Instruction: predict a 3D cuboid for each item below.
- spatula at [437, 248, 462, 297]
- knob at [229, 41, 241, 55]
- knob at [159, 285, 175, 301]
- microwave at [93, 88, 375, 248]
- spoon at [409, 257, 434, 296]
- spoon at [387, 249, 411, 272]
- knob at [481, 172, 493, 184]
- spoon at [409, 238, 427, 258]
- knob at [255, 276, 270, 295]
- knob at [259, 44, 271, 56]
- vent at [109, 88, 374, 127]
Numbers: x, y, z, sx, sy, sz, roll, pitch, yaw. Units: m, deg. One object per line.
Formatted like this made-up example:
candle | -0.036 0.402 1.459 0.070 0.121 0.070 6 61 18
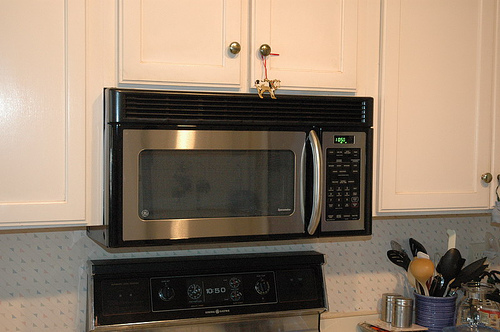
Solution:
spatula | 0.937 0.502 2.299 0.076 0.235 0.105 1 6 -5
knob | -0.059 -0.461 1.853 0.040 0.042 0.036 -3 7 31
knob | -0.346 0.526 1.987 0.065 0.051 0.017 -2 -1 -16
microwave | -0.060 -0.011 2.073 1.090 0.582 0.531 -1 6 -19
spoon | 0.829 0.532 2.299 0.123 0.186 0.099 -2 -1 1
spoon | 0.750 0.464 2.419 0.105 0.104 0.124 -2 -1 19
knob | 1.058 0.050 2.137 0.060 0.051 0.019 -2 -1 -27
spoon | 0.840 0.413 2.409 0.077 0.099 0.166 -2 0 18
knob | 0.051 0.523 2.079 0.051 0.069 0.016 -3 -9 -2
knob | 0.055 -0.460 1.878 0.043 0.044 0.014 2 -5 -2
vent | -0.049 -0.238 1.933 1.087 0.156 0.183 3 7 15
